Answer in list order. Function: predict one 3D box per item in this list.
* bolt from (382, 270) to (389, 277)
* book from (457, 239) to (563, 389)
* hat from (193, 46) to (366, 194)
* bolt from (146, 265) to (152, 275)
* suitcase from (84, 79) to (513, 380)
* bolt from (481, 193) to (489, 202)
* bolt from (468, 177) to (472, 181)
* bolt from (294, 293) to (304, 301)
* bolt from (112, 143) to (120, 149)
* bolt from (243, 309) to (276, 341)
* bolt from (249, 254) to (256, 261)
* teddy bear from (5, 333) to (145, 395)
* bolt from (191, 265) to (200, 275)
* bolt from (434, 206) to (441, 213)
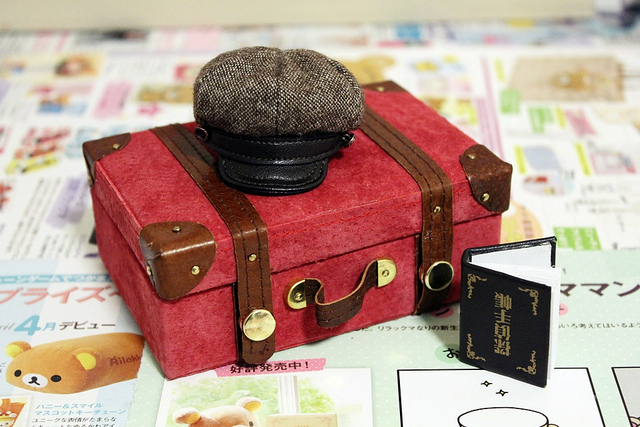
[{"bbox_3d":[0.162,0.146,1.428,0.016,0.014,0.004,4,9,-21],"label":"bolt"},{"bbox_3d":[0.461,0.222,1.377,0.294,0.282,0.268,15,51,13],"label":"book"},{"bbox_3d":[-0.110,-0.273,1.424,0.435,0.169,0.484,-6,44,-12],"label":"hat"},{"bbox_3d":[-0.380,0.124,1.279,0.005,0.016,0.017,-10,11,-36],"label":"bolt"},{"bbox_3d":[-0.064,0.043,1.473,1.052,0.415,0.773,-14,36,-21],"label":"suitcase"},{"bbox_3d":[0.410,-0.040,1.431,0.020,0.018,0.005,-6,17,-22],"label":"bolt"},{"bbox_3d":[0.366,-0.084,1.408,0.009,0.004,0.006,-3,32,-4],"label":"bolt"},{"bbox_3d":[-0.051,0.196,1.375,0.024,0.020,0.011,-9,51,-8],"label":"bolt"},{"bbox_3d":[-0.539,-0.176,1.520,0.014,0.003,0.013,10,37,10],"label":"bolt"},{"bbox_3d":[-0.146,0.260,1.352,0.074,0.085,0.040,-12,51,-10],"label":"bolt"},{"bbox_3d":[-0.152,0.098,1.298,0.014,0.013,0.003,9,31,-52],"label":"bolt"},{"bbox_3d":[-0.615,0.334,1.423,0.196,0.054,0.171,-5,11,-42],"label":"teddy bear"},{"bbox_3d":[-0.275,0.122,1.264,0.019,0.018,0.010,-24,54,-19],"label":"bolt"},{"bbox_3d":[0.285,-0.010,1.408,0.016,0.014,0.004,18,5,-4],"label":"bolt"}]
